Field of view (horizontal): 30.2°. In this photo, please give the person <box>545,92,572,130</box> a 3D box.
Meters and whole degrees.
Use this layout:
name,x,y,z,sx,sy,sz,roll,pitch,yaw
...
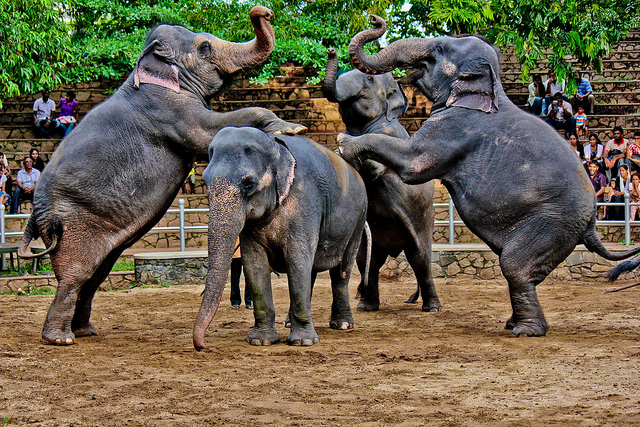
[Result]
name,x,y,z,sx,sy,sz,roll,pitch,yaw
person,4.767,-2.003,23.818,0.586,0.679,0.550,-2,-8,10

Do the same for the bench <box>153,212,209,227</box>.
name,x,y,z,sx,sy,sz,roll,pitch,yaw
bench,-2.491,0.101,22.308,1.044,0.326,0.231,-2,-2,-16

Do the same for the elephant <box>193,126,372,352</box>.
name,x,y,z,sx,sy,sz,roll,pitch,yaw
elephant,-0.479,0.313,14.346,1.442,2.538,3.366,-2,0,32

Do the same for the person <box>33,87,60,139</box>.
name,x,y,z,sx,sy,sz,roll,pitch,yaw
person,-5.607,-2.064,24.394,0.629,0.967,0.633,3,22,-5
